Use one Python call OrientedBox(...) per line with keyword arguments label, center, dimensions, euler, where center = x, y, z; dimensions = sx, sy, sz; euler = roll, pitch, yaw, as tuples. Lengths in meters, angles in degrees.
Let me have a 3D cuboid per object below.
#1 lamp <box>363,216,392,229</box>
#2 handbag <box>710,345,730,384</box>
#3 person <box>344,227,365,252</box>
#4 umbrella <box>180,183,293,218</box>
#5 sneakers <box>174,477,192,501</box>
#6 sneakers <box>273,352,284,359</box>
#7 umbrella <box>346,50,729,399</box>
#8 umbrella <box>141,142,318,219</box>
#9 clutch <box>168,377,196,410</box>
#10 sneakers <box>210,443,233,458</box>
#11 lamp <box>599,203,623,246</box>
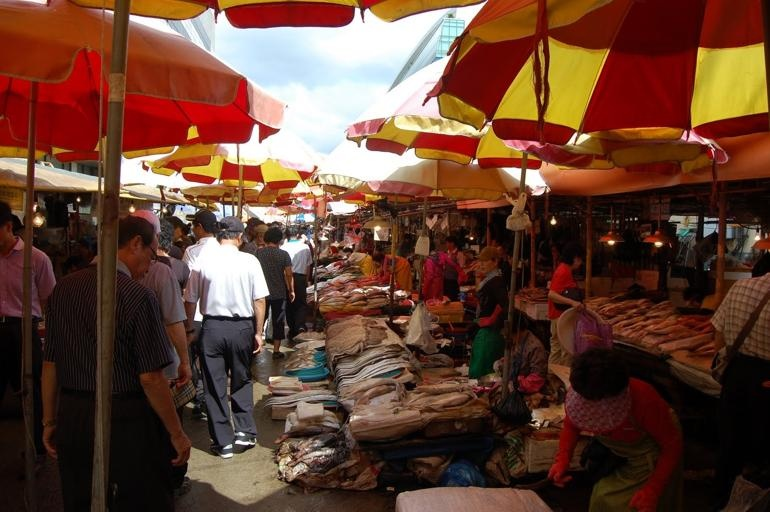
OrientedBox(label="lamp", center=(-0.040, -0.812, 14.678), dimensions=(0.688, 0.272, 0.681), euler=(1, 0, -33))
OrientedBox(label="handbag", center=(3.244, 1.046, 5.795), dimensions=(0.155, 0.284, 0.215), euler=(7, -7, 22))
OrientedBox(label="person", center=(-1.073, -0.656, 24.434), dimensions=(0.681, 1.152, 2.844), euler=(2, 2, -9))
OrientedBox(label="umbrella", center=(-3.903, -1.449, 15.802), dimensions=(2.167, 1.342, 2.130), euler=(-1, 8, -26))
OrientedBox(label="sneakers", center=(-2.074, 2.393, 6.159), dimensions=(0.078, 0.160, 0.233), euler=(6, 11, 4))
OrientedBox(label="sneakers", center=(-1.884, 1.767, 10.598), dimensions=(0.186, 0.127, 0.103), euler=(-4, 6, -13))
OrientedBox(label="umbrella", center=(1.488, -0.924, 7.795), dimensions=(4.086, 2.761, 3.881), euler=(4, 3, -2))
OrientedBox(label="umbrella", center=(-2.945, -1.363, 11.149), dimensions=(2.027, 1.082, 1.965), euler=(2, 4, -1))
OrientedBox(label="clutch", center=(-1.971, 1.347, 5.818), dimensions=(0.168, 0.205, 0.505), euler=(-3, -1, 6))
OrientedBox(label="sneakers", center=(-1.867, 2.240, 6.889), dimensions=(0.116, 0.117, 0.268), euler=(2, 2, -43))
OrientedBox(label="lamp", center=(4.160, -0.562, 10.954), dimensions=(0.399, 0.708, 0.402), euler=(10, -11, -35))
